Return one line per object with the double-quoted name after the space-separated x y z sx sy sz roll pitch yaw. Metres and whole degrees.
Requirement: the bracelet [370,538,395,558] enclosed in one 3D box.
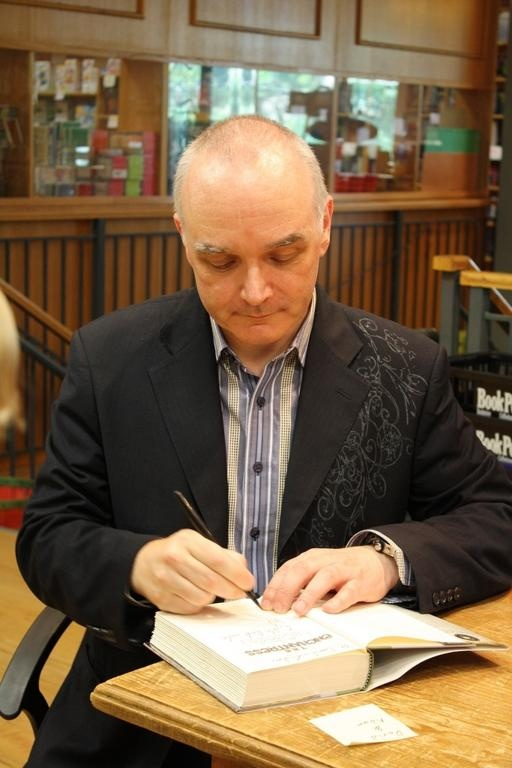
0.219 0.282 1.084 0.033 0.013 0.025 19 -7 43 "bracelet"
